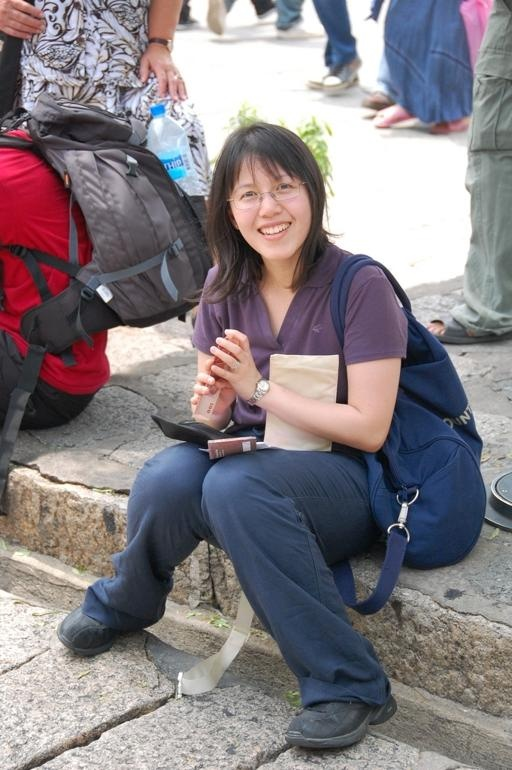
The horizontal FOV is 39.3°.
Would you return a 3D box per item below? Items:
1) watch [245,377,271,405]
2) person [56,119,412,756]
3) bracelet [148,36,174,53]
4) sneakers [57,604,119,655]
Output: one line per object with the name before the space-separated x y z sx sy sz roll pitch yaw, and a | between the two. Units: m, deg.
watch | 0.009 0.011 1.652 0.040 0.061 0.061 44 10 0
person | -0.011 0.053 1.658 0.793 1.327 0.481 5 7 39
bracelet | -0.416 -1.517 3.179 0.095 0.049 0.089 0 -22 16
sneakers | -0.415 0.615 1.835 0.085 0.097 0.164 24 8 36
